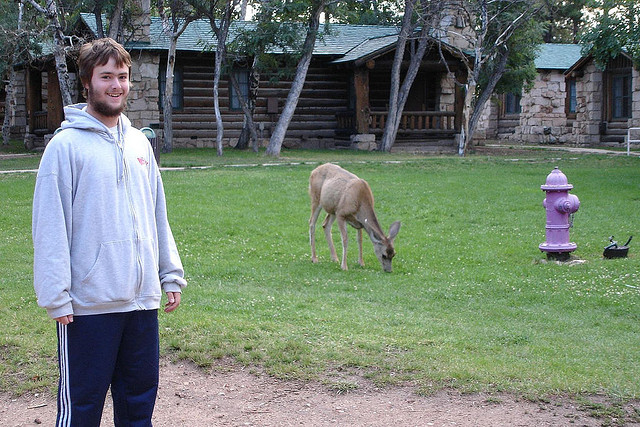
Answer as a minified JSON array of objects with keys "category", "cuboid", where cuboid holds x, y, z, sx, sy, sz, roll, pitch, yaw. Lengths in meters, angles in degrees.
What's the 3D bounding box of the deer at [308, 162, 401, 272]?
[{"category":"deer","cuboid":[0.934,0.068,19.337,1.690,2.312,1.792,-2,7,-20]}]
